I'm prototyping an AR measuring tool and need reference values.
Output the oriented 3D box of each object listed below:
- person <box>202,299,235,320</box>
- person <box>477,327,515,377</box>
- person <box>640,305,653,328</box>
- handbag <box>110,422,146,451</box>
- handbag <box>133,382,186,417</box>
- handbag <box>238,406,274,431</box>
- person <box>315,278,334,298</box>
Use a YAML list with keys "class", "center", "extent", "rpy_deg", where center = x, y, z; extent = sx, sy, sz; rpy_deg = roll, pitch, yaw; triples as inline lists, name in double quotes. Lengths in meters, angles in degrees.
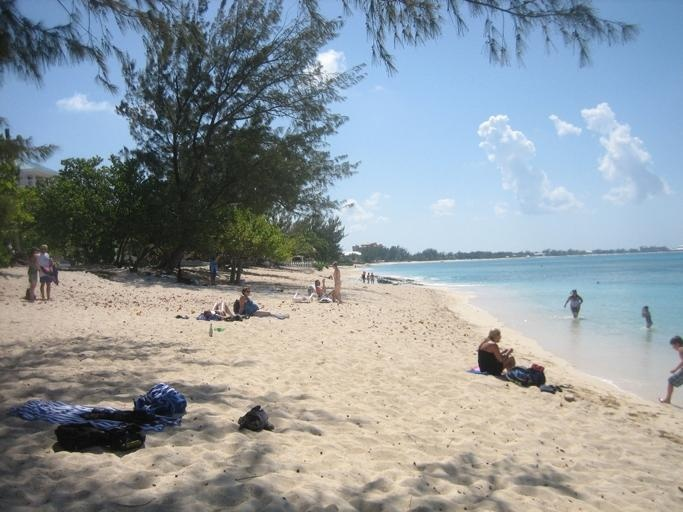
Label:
- class: "person"
  center: [-4.138, 1.805, 18.360]
  extent: [1.089, 0.349, 1.029]
  rpy_deg: [1, 11, -29]
- class: "person"
  center: [4.272, 2.661, 15.241]
  extent: [1.125, 1.306, 0.839]
  rpy_deg: [0, 0, -20]
- class: "person"
  center: [14.878, 2.979, 27.167]
  extent: [0.424, 1.055, 0.363]
  rpy_deg: [0, 4, 44]
- class: "handbag"
  center: [-3.818, 3.291, 10.038]
  extent: [0.485, 0.278, 0.581]
  rpy_deg: [11, 11, 22]
- class: "handbag"
  center: [-3.582, 2.859, 10.990]
  extent: [0.994, 0.397, 0.668]
  rpy_deg: [3, 10, -20]
- class: "handbag"
  center: [-1.682, 3.188, 10.874]
  extent: [0.708, 0.334, 0.453]
  rpy_deg: [1, 11, -30]
- class: "person"
  center: [-0.992, 1.731, 30.368]
  extent: [1.056, 0.477, 1.545]
  rpy_deg: [2, 3, -4]
